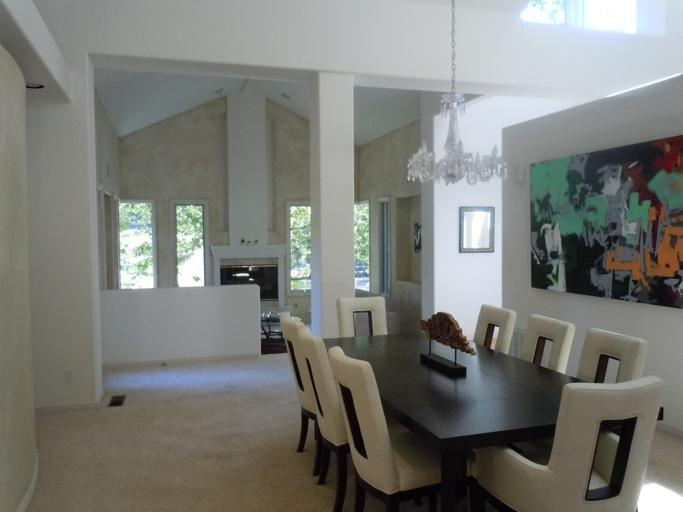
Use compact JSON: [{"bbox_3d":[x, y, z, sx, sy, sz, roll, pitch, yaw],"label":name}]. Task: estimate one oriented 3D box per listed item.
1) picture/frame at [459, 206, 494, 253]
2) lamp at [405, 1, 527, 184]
[{"bbox_3d":[2.174,-0.436,8.472,0.660,0.842,0.035,1,-1,-26],"label":"picture/frame"},{"bbox_3d":[1.334,-1.934,5.712,0.927,2.269,2.297,2,8,15],"label":"lamp"}]
